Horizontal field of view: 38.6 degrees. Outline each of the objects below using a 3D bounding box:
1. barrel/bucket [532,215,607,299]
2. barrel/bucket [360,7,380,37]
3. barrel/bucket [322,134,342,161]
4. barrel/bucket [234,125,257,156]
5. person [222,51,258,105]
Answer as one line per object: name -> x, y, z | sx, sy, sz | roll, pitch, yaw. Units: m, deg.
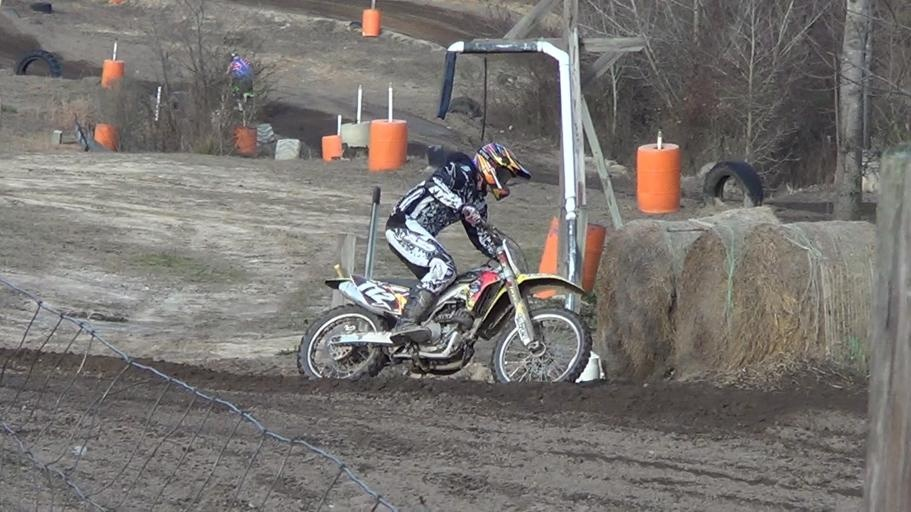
barrel/bucket -> 2.683, 0.099, 28.311 | 1.195, 1.992, 0.429 | 4, -25, 13
barrel/bucket -> -3.281, -9.193, 51.851 | 1.104, 1.104, 1.034 | 1, 8, 0
barrel/bucket -> -3.596, -3.240, 39.170 | 0.805, 0.810, 0.761 | 0, 8, 0
barrel/bucket -> -6.323, -3.445, 39.551 | 0.622, 0.862, 0.448 | 2, 6, -16
person -> -6.862, -5.672, 41.931 | 0.891, 1.565, 1.296 | 3, 6, -10
